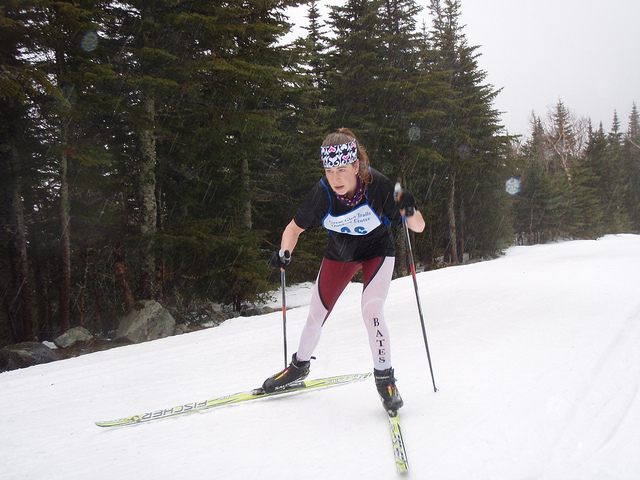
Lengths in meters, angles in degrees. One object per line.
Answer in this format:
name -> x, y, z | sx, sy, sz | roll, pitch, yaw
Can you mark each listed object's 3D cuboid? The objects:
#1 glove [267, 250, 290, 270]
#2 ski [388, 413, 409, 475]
glove -> -0.697, 0.332, 10.183 | 0.446, 0.312, 0.254 | -2, -1, 38
ski -> 1.172, 3.053, 9.125 | 0.146, 0.100, 0.771 | -7, 42, 5
